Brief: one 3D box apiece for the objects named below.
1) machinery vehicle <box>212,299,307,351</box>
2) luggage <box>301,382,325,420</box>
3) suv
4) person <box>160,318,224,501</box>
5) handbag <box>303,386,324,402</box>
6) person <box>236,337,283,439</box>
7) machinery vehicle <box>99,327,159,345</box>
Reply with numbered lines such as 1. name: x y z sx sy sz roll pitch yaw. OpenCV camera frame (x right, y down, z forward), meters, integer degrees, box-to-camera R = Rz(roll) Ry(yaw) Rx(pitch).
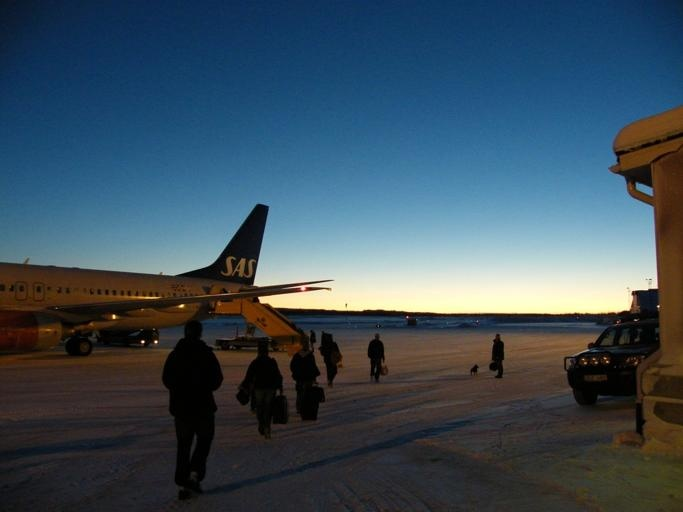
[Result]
1. machinery vehicle: -3.274 2.822 21.441 4.091 2.207 1.285 -3 -3 15
2. luggage: -0.630 3.143 10.977 0.595 1.125 0.605 -1 -16 -4
3. suv: 6.180 2.471 11.703 1.643 1.845 2.089 -5 -8 37
4. person: -2.002 1.998 6.911 0.720 2.219 0.488 2 -7 -27
5. handbag: -0.528 2.841 10.694 0.372 0.281 0.376 1 -15 -1
6. person: -1.468 2.405 9.297 0.751 1.698 0.466 1 -6 -12
7. machinery vehicle: -13.205 5.130 32.433 3.165 1.465 2.355 1 -2 12
